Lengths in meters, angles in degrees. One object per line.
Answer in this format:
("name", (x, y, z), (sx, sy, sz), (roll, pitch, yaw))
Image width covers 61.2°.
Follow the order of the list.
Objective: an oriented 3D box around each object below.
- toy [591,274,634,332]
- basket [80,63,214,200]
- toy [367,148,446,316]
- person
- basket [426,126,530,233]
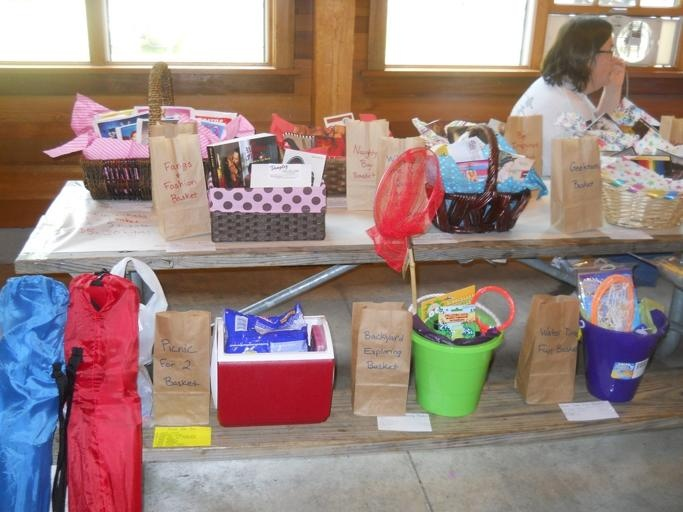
("toy", (1.115, 0.186, 2.391), (0.143, 0.250, 0.059), (-1, 1, 1))
("basket", (-0.815, -0.521, 2.692), (0.649, 0.637, 0.563), (-2, 20, -12))
("toy", (0.269, -0.124, 2.234), (0.356, 0.590, 0.210), (-12, 23, -27))
("person", (1.292, -0.935, 3.333), (0.570, 0.831, 1.482), (8, 21, 23))
("basket", (0.558, -0.358, 2.479), (0.393, 0.363, 0.416), (0, 25, -2))
